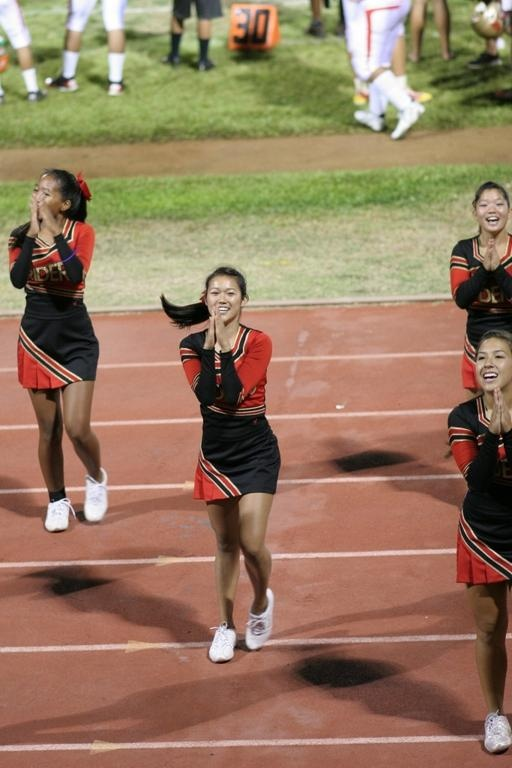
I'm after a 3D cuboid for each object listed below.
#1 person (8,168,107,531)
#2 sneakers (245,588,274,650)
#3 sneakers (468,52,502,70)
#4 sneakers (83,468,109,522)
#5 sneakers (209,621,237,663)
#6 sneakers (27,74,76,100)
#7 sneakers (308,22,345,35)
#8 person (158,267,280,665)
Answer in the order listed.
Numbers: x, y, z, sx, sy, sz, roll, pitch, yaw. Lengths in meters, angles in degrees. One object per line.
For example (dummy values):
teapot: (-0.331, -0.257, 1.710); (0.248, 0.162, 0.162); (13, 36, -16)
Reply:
person: (-1.031, -0.122, 4.647); (0.441, 1.954, 0.486); (-4, 15, -8)
sneakers: (0.023, 1.020, 3.816); (0.114, 0.098, 0.281); (7, 38, 12)
sneakers: (2.980, -4.217, 11.643); (0.513, 0.163, 0.224); (-1, -21, 9)
sneakers: (-0.895, 0.626, 4.998); (0.130, 0.301, 0.130); (-1, -13, -5)
sneakers: (-0.136, 1.096, 3.734); (0.082, 0.079, 0.202); (-1, 12, 5)
sneakers: (-2.618, -3.879, 11.423); (0.682, 0.246, 0.226); (4, 20, 8)
sneakers: (0.948, -4.857, 12.151); (0.504, 0.213, 0.184); (0, 14, 2)
person: (-0.118, 0.356, 3.643); (0.413, 1.654, 0.647); (-4, 15, -9)
